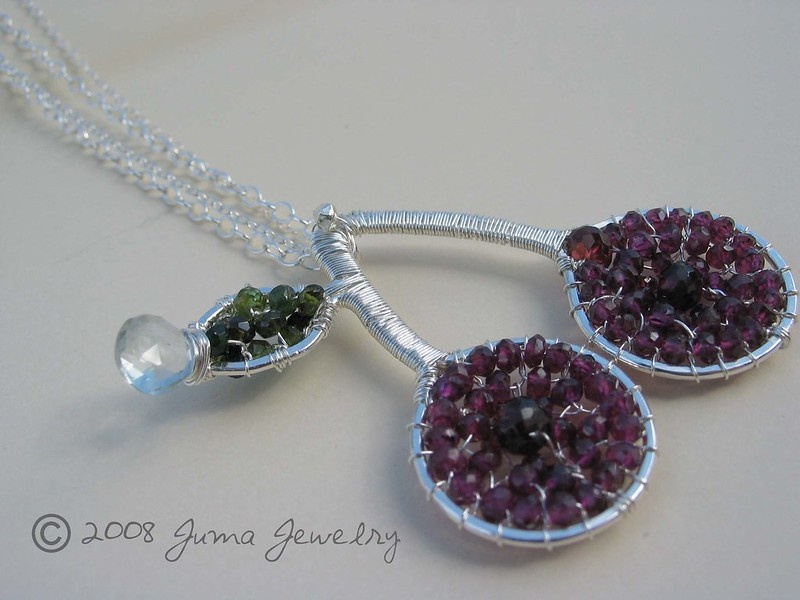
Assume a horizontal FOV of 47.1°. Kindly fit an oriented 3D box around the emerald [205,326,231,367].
[{"bbox_3d":[-0.499,0.129,2.585,0.068,0.078,0.094,-1,65,39],"label":"emerald"}]

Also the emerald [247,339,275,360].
[{"bbox_3d":[-0.394,0.134,2.608,0.053,0.015,0.056,24,47,8],"label":"emerald"}]

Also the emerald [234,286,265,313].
[{"bbox_3d":[-0.430,0.000,2.639,0.069,0.046,0.073,8,46,-3],"label":"emerald"}]

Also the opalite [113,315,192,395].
[{"bbox_3d":[-0.648,0.143,2.450,0.195,0.170,0.149,-26,51,-7],"label":"opalite"}]

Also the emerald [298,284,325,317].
[{"bbox_3d":[-0.248,-0.005,2.694,0.030,0.076,0.087,13,61,12],"label":"emerald"}]

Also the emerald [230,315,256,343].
[{"bbox_3d":[-0.446,0.080,2.597,0.073,0.072,0.077,-25,10,-6],"label":"emerald"}]
